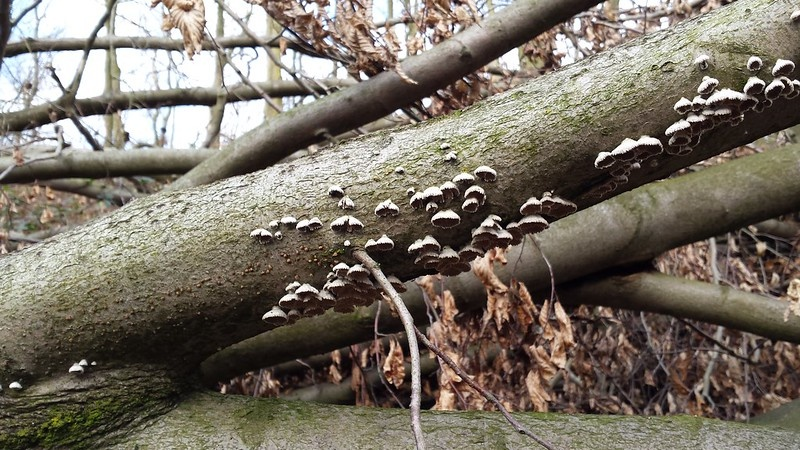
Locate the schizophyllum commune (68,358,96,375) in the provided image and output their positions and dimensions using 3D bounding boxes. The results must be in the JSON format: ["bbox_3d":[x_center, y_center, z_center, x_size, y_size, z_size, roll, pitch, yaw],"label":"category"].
[{"bbox_3d":[-2.993,1.339,10.059,0.261,0.127,0.049,-11,-2,-4],"label":"schizophyllum commune"}]

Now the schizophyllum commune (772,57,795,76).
[{"bbox_3d":[3.480,-1.432,9.733,0.138,0.127,0.181,15,-40,-23],"label":"schizophyllum commune"}]

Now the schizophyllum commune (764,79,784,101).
[{"bbox_3d":[3.401,-1.242,9.756,0.208,0.133,0.200,24,25,-2],"label":"schizophyllum commune"}]
